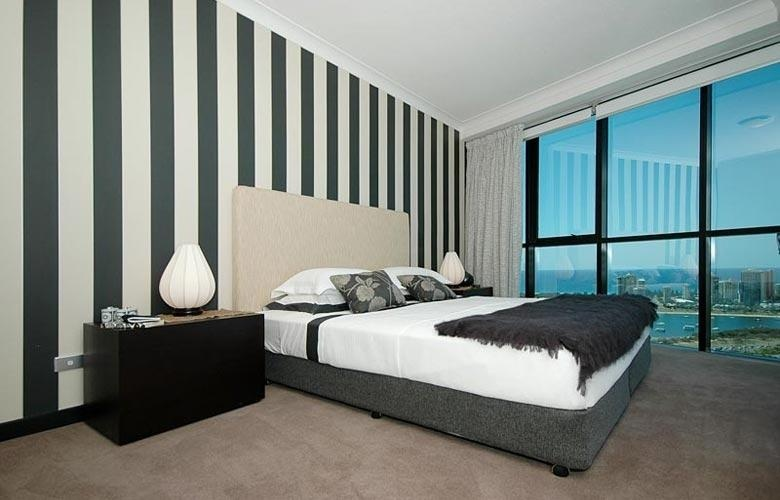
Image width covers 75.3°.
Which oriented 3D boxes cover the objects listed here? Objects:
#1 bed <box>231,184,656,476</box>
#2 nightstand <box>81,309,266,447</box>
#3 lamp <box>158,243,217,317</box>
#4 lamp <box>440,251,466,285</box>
[{"bbox_3d":[0.587,0.386,4.793,3.351,1.645,2.817,3,4,41],"label":"bed"},{"bbox_3d":[-1.707,0.676,4.033,0.820,0.971,1.555,-3,-2,41],"label":"nightstand"},{"bbox_3d":[-1.640,0.246,4.068,0.389,0.566,0.219,1,2,14],"label":"lamp"},{"bbox_3d":[0.740,0.244,6.212,0.384,0.440,0.373,-1,-8,2],"label":"lamp"}]
